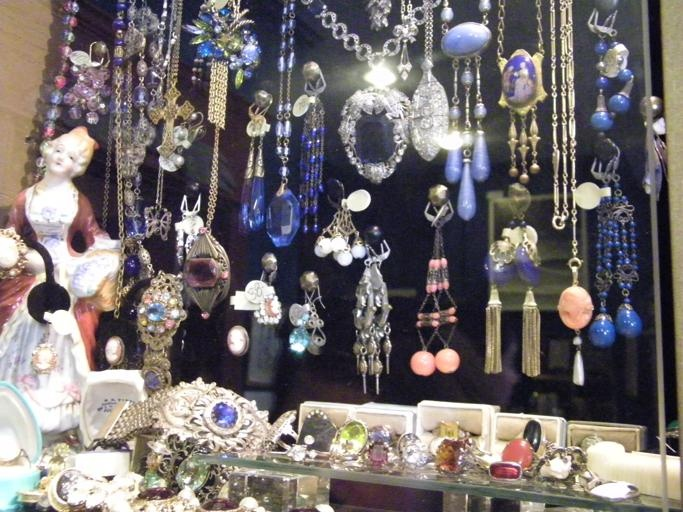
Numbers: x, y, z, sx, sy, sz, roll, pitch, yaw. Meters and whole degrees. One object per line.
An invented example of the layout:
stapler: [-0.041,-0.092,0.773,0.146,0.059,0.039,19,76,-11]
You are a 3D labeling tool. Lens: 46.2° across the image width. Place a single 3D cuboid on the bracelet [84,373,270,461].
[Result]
bracelet: [-0.493,0.485,2.452,0.552,0.157,0.179,2,1,27]
